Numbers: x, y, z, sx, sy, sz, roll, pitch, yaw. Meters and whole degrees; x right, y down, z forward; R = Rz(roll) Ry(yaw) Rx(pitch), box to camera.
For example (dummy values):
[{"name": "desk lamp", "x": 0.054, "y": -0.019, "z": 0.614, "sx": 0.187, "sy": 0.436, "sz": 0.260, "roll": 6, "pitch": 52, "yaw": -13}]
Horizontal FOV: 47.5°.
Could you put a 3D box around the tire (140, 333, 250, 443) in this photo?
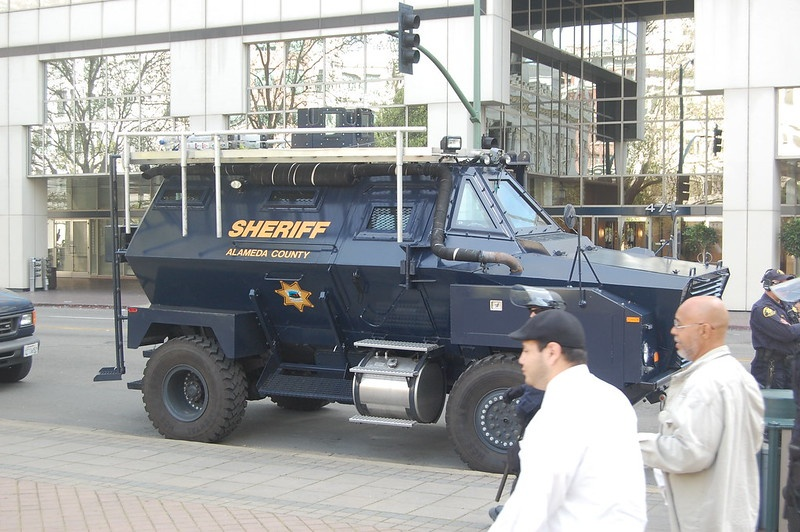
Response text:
[{"name": "tire", "x": -2.841, "y": 1.724, "z": 12.616, "sx": 1.694, "sy": 1.539, "sz": 0.548, "roll": -3, "pitch": 0, "yaw": 36}]

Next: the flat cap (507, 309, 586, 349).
[{"name": "flat cap", "x": 1.057, "y": 0.440, "z": 6.357, "sx": 0.393, "sy": 0.180, "sz": 0.267, "roll": 9, "pitch": -5, "yaw": 11}]

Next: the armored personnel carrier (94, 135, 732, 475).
[{"name": "armored personnel carrier", "x": 0.282, "y": 0.471, "z": 13.502, "sx": 7.953, "sy": 3.894, "sz": 4.445, "roll": -1, "pitch": 0, "yaw": 20}]

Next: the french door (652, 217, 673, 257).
[{"name": "french door", "x": 10.341, "y": -1.141, "z": 36.073, "sx": 0.872, "sy": 1.813, "sz": 0.186, "roll": -3, "pitch": 20, "yaw": 5}]
